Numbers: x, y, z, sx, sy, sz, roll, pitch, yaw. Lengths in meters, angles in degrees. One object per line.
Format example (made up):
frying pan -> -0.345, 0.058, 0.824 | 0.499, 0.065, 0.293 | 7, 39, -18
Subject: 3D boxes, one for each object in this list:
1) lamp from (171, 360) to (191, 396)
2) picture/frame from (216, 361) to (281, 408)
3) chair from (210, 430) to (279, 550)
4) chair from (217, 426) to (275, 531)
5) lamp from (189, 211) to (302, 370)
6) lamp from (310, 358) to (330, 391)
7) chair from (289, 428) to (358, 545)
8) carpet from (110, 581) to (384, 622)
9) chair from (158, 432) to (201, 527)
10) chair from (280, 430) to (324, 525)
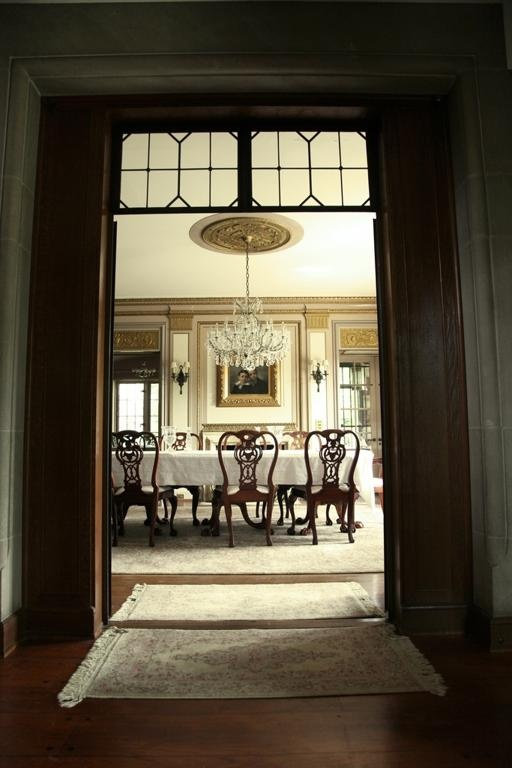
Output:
lamp -> -1.060, -0.089, 8.008 | 0.264, 0.456, 0.121 | 0, -2, -6
picture/frame -> -0.128, 0.019, 7.823 | 0.574, 0.664, 0.051 | 0, -8, 0
chair -> -0.103, 0.774, 4.480 | 0.487, 0.894, 0.566 | -1, 1, -1
chair -> -0.065, 0.770, 4.445 | 0.423, 0.904, 0.476 | -1, -1, -1
lamp -> -0.082, -0.880, 6.002 | 0.965, 1.372, 1.055 | -6, 17, -19
lamp -> 0.890, -0.114, 8.048 | 0.245, 0.423, 0.117 | -1, -2, 4
chair -> 0.576, 0.753, 4.519 | 0.435, 0.874, 0.481 | 1, 2, 3
carpet -> -0.036, 1.063, 2.830 | 1.222, 0.058, 0.670 | -1, -1, -1
chair -> -0.748, 0.913, 5.689 | 0.359, 0.791, 0.432 | -1, -32, -2
chair -> 0.495, 0.803, 5.152 | 0.540, 0.781, 0.564 | -2, -31, 16
